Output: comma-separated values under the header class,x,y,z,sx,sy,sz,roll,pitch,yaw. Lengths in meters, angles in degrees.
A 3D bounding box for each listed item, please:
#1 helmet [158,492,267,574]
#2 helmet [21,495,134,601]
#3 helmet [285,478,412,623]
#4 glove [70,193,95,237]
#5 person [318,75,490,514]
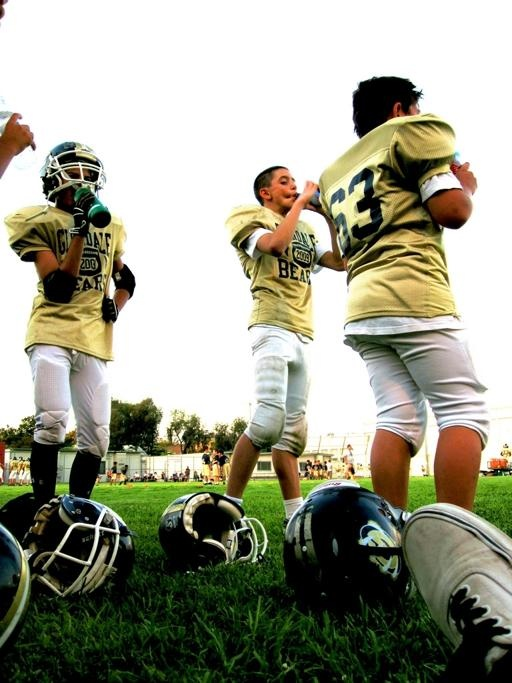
class,x,y,z,sx,sy,sz,roll,pitch,yaw
helmet,-0.186,0.937,2.510,0.486,0.332,0.348,8,-44,-2
helmet,-0.629,0.737,1.888,0.399,0.345,0.236,8,-11,-19
helmet,0.261,0.594,1.667,0.306,0.383,0.300,-27,-6,18
glove,-0.985,-0.702,2.970,0.176,0.216,0.202,-2,-4,-30
person,0.587,-0.285,2.055,0.482,1.825,0.781,10,-12,-27
